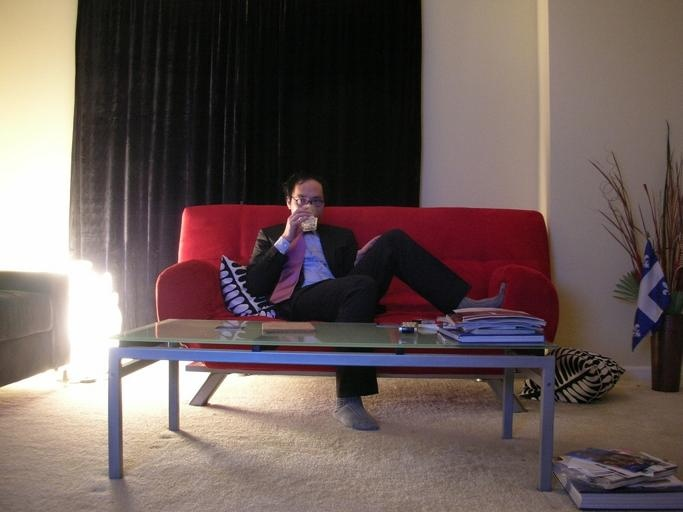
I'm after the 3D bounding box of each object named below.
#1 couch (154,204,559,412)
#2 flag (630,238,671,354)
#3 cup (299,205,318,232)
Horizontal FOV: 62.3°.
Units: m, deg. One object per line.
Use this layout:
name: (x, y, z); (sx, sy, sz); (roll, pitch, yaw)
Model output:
couch: (0.036, 0.245, 3.084); (1.978, 0.972, 0.920); (1, 8, -9)
flag: (1.793, 0.226, 3.241); (0.212, 0.625, 0.152); (-2, 8, -17)
cup: (-0.153, -0.188, 2.843); (0.125, 0.125, 0.076); (-1, 3, 8)
